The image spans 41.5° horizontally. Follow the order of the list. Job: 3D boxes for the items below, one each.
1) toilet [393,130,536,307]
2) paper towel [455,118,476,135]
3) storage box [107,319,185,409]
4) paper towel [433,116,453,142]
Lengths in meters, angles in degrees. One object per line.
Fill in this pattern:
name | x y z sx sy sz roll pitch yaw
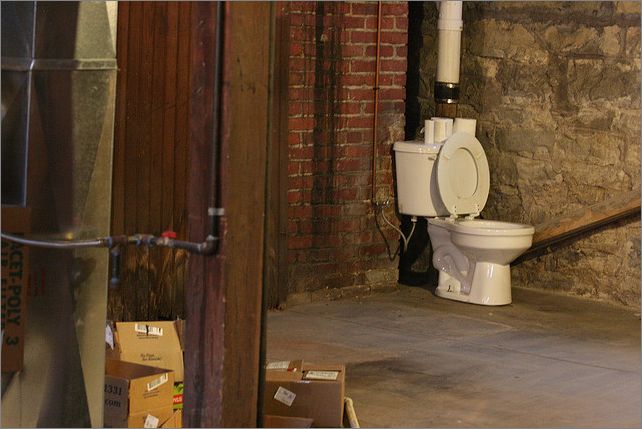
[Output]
toilet | 1.042 0.007 6.017 0.934 1.232 0.613 4 5 44
paper towel | 1.042 -0.637 6.134 0.120 0.102 0.123 -3 12 -31
storage box | -0.941 0.694 4.097 0.339 0.389 0.383 5 -3 21
paper towel | 0.846 -0.604 5.965 0.133 0.176 0.151 -2 11 -12
